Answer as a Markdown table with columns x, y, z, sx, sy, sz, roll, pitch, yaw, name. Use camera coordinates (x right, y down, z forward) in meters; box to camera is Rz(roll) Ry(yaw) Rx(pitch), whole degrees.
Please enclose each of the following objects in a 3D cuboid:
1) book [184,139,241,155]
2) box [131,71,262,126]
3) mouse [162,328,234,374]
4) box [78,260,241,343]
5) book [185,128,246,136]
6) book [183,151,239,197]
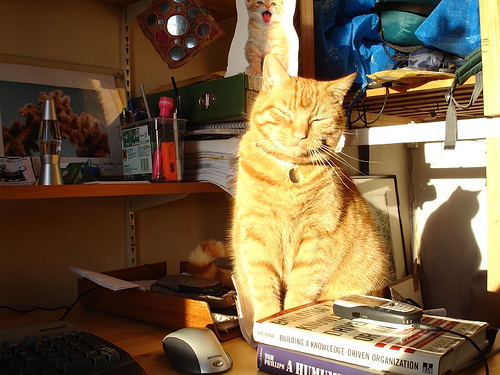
| x | y | z | sx | sy | sz | roll | pitch | yaw | name |
| --- | --- | --- | --- | --- | --- | --- | --- | --- | --- |
| -0.103 | -0.103 | 1.100 | 0.028 | 0.041 | 0.212 | -8 | 8 | -41 | book |
| -0.084 | -0.215 | 1.073 | 0.245 | 0.109 | 0.070 | 1 | 7 | 36 | box |
| -0.104 | 0.316 | 0.827 | 0.130 | 0.075 | 0.072 | 1 | 7 | 38 | mouse |
| -0.208 | 0.282 | 1.136 | 0.500 | 0.105 | 0.265 | 1 | 7 | 35 | box |
| -0.090 | -0.139 | 1.077 | 0.044 | 0.022 | 0.214 | -8 | 8 | -41 | book |
| -0.114 | -0.059 | 1.196 | 0.147 | 0.062 | 0.186 | -5 | 3 | -9 | book |
